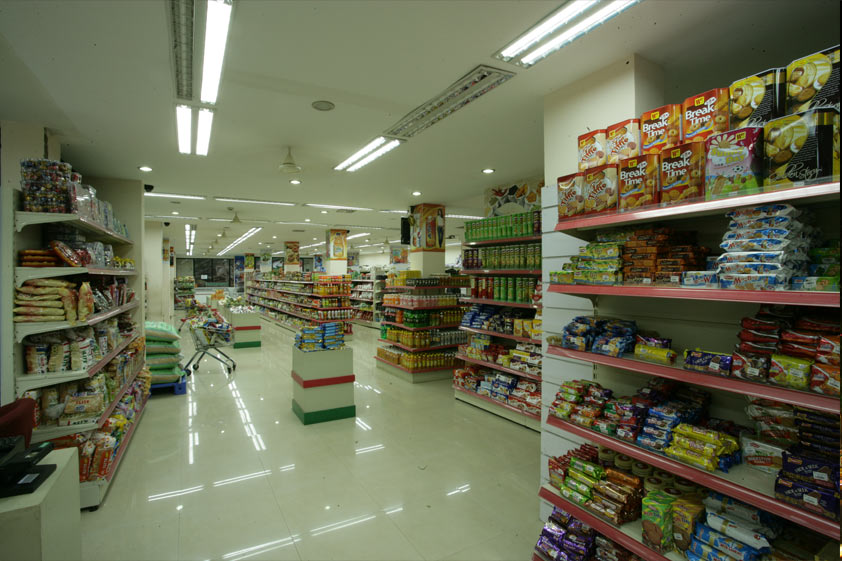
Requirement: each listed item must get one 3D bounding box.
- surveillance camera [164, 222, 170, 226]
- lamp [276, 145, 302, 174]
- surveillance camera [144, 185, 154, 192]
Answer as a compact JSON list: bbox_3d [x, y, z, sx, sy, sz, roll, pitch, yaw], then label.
[{"bbox_3d":[-6.705,-1.521,14.278,0.145,0.032,0.142,-2,-6,5],"label":"surveillance camera"},{"bbox_3d":[-1.742,-1.622,7.233,0.343,0.344,0.332,-1,-12,-3],"label":"lamp"},{"bbox_3d":[-4.624,-1.596,9.197,0.116,0.088,0.128,-2,-8,4],"label":"surveillance camera"}]
